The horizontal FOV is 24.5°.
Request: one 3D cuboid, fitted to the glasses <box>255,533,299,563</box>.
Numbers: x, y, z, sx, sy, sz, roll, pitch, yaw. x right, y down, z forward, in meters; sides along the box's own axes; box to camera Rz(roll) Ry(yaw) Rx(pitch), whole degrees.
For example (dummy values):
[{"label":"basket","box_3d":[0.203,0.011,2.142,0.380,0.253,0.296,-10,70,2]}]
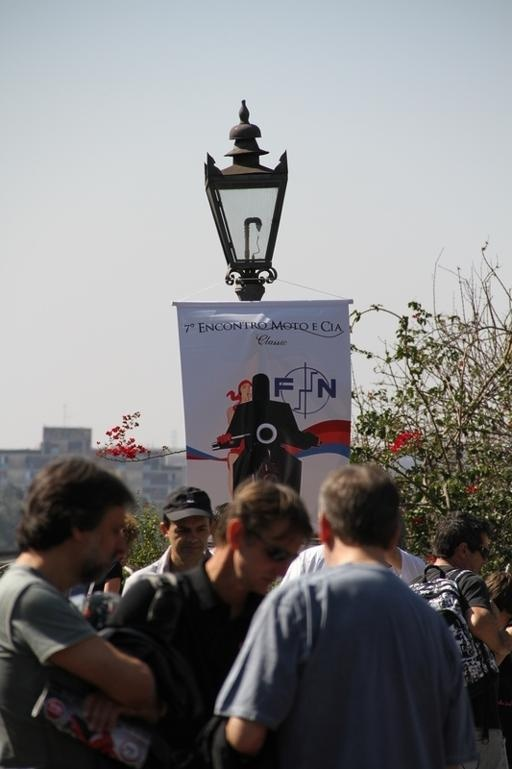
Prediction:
[{"label":"glasses","box_3d":[0.065,0.458,3.314,0.030,0.082,0.089,-23,-12,38]}]
